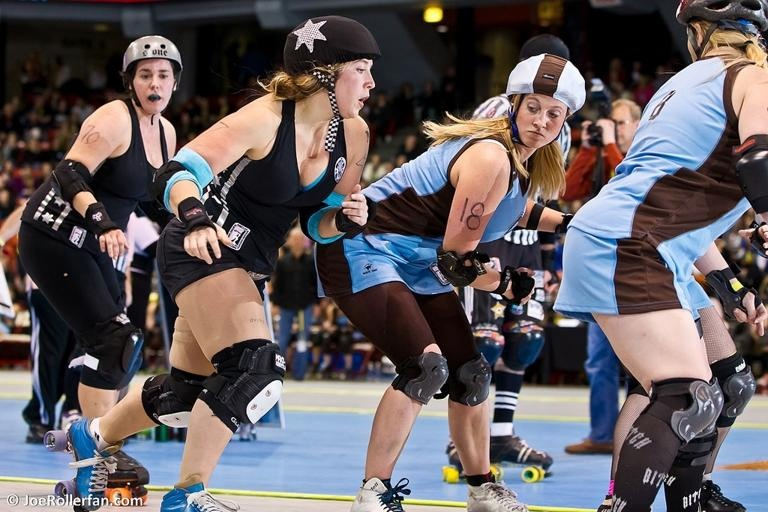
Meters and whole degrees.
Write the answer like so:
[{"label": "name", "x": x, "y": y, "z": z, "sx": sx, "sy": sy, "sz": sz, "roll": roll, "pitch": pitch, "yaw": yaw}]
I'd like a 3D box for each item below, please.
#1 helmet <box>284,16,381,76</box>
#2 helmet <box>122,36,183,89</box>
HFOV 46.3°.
[{"label": "helmet", "x": -0.276, "y": -1.135, "z": 4.897, "sx": 0.521, "sy": 0.281, "sz": 0.162, "roll": 3, "pitch": 1, "yaw": -3}, {"label": "helmet", "x": -1.561, "y": -1.345, "z": 6.071, "sx": 0.282, "sy": 0.359, "sz": 0.358, "roll": 1, "pitch": -10, "yaw": -13}]
